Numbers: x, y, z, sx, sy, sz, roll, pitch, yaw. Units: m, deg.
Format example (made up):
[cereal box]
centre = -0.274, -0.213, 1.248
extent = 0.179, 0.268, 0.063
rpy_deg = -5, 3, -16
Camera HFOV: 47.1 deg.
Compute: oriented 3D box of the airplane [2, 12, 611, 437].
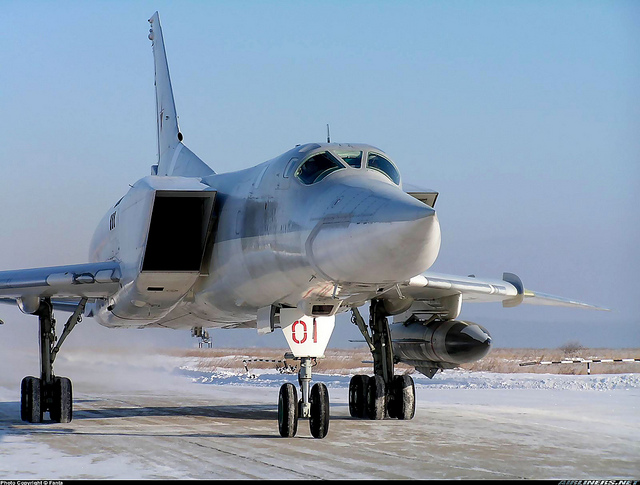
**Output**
[airplane]
centre = -0.884, 0.355, 12.556
extent = 11.499, 3.965, 9.368
rpy_deg = 0, -2, -18
